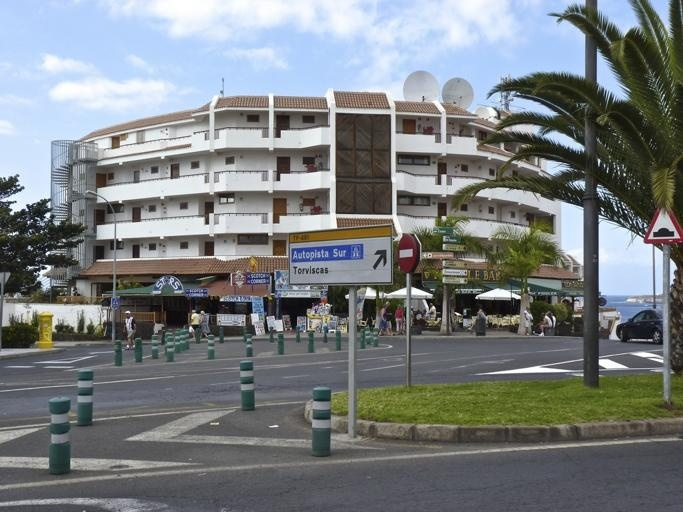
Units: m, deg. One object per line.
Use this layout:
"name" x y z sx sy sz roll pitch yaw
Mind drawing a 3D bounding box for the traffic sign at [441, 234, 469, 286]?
"traffic sign" 5.564 0.151 49.439 0.381 2.876 2.577 -4 -5 36

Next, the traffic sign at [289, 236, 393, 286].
"traffic sign" -0.016 0.128 20.356 2.492 0.945 0.279 -4 -6 32

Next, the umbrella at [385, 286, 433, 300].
"umbrella" 3.581 1.984 52.699 1.455 0.517 1.529 3 -4 -5

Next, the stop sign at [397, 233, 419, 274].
"stop sign" 1.568 -0.096 23.381 0.482 0.969 1.344 0 -5 2

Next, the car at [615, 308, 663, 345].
"car" 12.523 2.894 41.978 1.012 0.836 2.390 3 -2 -17

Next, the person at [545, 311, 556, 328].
"person" 11.423 3.414 54.748 0.621 1.205 0.929 -1 1 9

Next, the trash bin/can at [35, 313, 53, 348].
"trash bin/can" -13.432 3.343 45.884 0.597 1.546 0.643 1 -5 -13

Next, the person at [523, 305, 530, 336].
"person" 9.537 3.300 51.679 0.305 1.387 0.767 -1 -5 11
